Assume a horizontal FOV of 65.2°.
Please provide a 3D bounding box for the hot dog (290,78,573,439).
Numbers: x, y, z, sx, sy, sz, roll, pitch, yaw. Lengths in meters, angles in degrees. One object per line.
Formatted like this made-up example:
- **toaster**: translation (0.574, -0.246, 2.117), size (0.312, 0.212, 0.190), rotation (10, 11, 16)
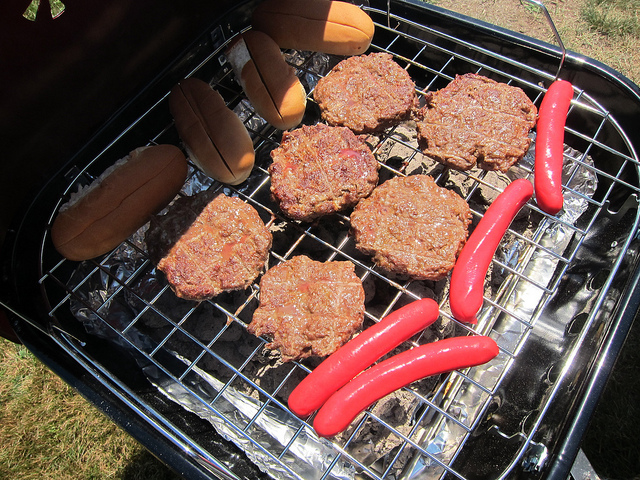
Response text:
- **hot dog**: translation (0.844, 0.411, 3.336), size (0.668, 0.801, 2.441), rotation (42, 80, 11)
